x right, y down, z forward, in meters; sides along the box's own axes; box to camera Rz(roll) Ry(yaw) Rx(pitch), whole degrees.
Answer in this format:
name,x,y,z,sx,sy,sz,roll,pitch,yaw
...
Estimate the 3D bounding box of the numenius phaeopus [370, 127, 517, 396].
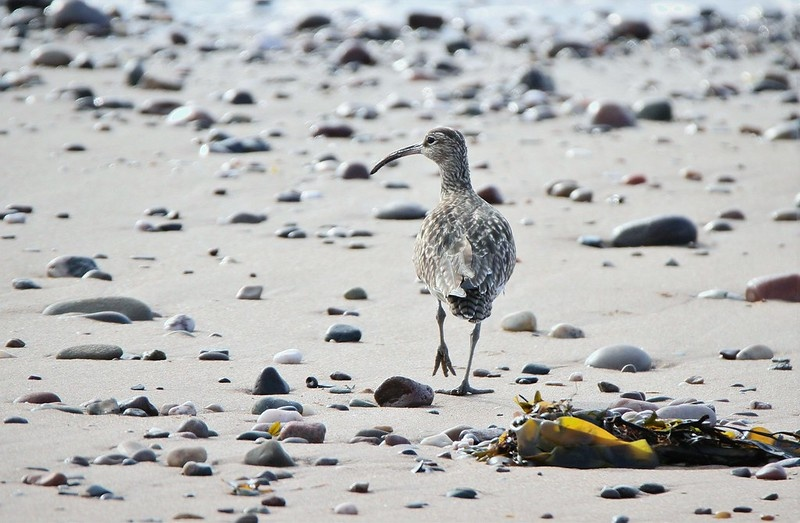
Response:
name,x,y,z,sx,sy,sz,roll,pitch,yaw
numenius phaeopus,0.496,-0.329,8.314,0.662,1.656,1.182,11,-12,-14
